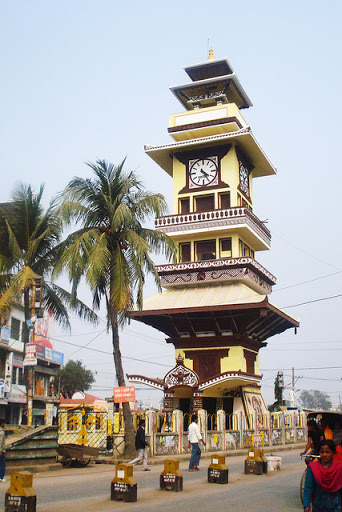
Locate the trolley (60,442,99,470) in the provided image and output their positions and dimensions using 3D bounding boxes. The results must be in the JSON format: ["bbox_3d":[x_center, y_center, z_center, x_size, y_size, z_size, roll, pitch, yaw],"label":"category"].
[{"bbox_3d":[-3.140,6.504,19.283,1.067,0.612,0.734,-2,-14,36],"label":"trolley"}]

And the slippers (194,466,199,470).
[{"bbox_3d":[0.808,6.474,17.856,0.064,0.164,0.217,-2,-9,28],"label":"slippers"}]
